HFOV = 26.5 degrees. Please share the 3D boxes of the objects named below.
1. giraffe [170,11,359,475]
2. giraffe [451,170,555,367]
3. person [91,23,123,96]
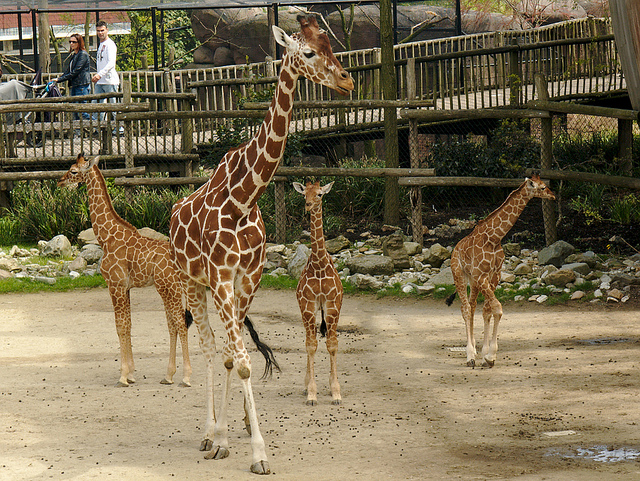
[{"bbox_3d":[-1.123,-0.103,19.956,2.140,6.230,3.477,-2,6,-9],"label":"giraffe"},{"bbox_3d":[2.727,0.467,21.583,0.920,2.866,1.361,3,7,43],"label":"giraffe"},{"bbox_3d":[-4.730,-4.004,29.728,0.543,1.496,0.993,-2,6,-8],"label":"person"}]
